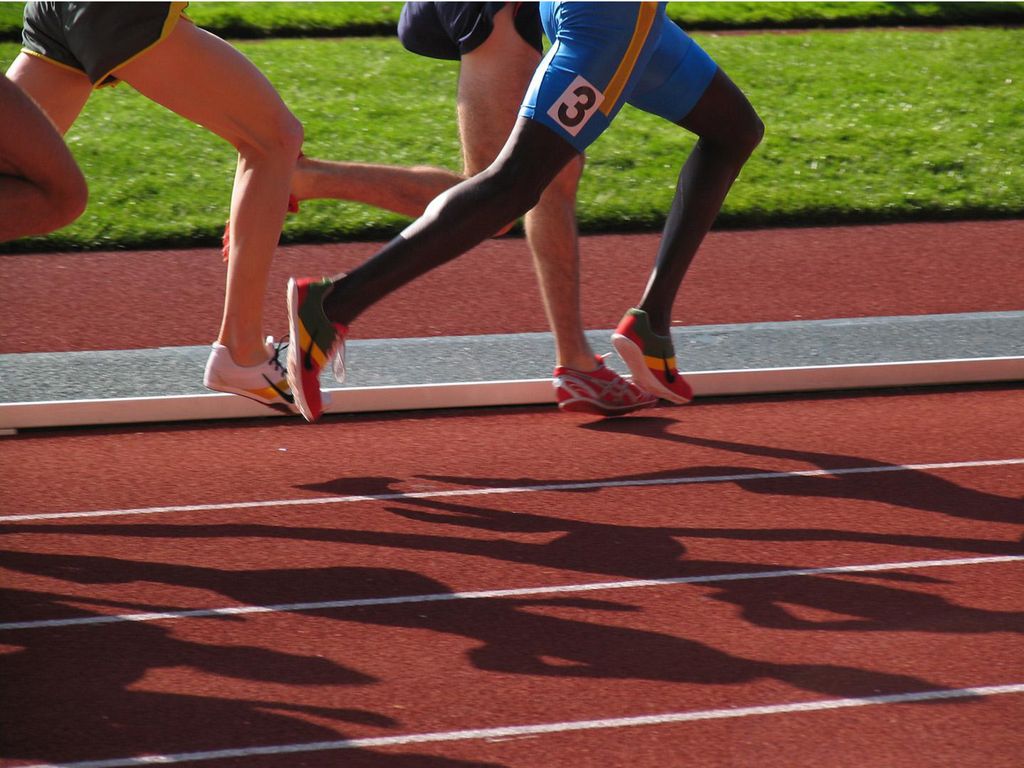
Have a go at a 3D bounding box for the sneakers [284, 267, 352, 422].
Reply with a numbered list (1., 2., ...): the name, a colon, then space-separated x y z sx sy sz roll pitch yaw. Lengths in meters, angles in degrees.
1. sneakers: -0.589 -0.083 3.086 0.172 0.559 0.214 4 39 -11
